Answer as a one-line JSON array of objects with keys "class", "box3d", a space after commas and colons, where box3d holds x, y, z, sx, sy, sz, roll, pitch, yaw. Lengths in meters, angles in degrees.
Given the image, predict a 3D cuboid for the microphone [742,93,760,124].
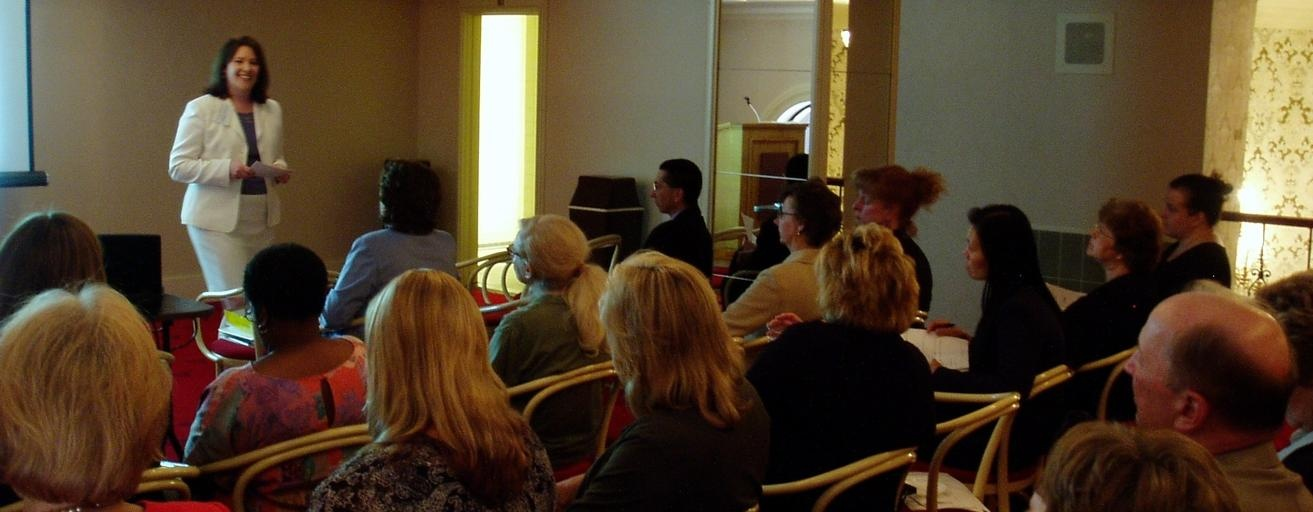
[{"class": "microphone", "box3d": [1.183, -1.770, 10.900, 0.025, 0.308, 0.291, -7, 10, -42]}]
